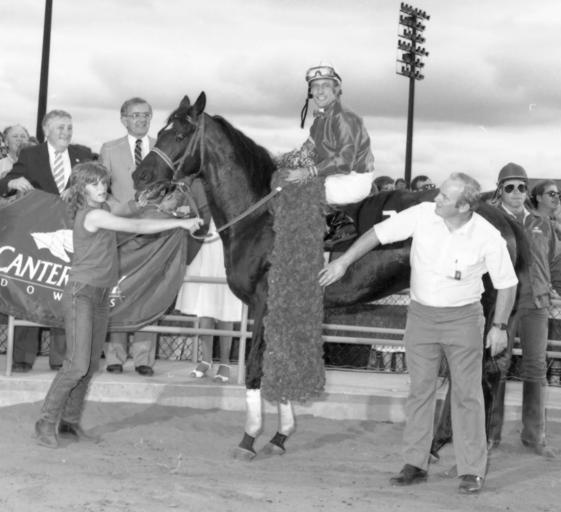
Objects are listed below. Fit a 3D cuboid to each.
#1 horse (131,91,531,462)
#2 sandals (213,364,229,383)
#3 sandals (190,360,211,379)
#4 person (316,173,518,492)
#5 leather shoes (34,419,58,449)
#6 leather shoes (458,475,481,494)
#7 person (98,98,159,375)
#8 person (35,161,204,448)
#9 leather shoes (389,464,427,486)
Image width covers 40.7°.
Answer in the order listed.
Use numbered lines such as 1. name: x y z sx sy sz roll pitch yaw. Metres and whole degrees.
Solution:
1. horse: 0.424 0.091 5.369 2.976 2.429 0.721 4 16 31
2. sandals: -0.566 1.108 7.182 0.119 0.135 0.150 0 -2 17
3. sandals: -0.774 1.097 7.375 0.085 0.109 0.244 1 -5 13
4. person: 0.946 0.543 4.715 0.964 1.767 0.326 1 -2 18
5. leather shoes: -1.595 1.196 5.183 0.153 0.182 0.246 3 -2 -19
6. leather shoes: 1.154 1.374 4.601 0.156 0.115 0.117 2 -2 -2
7. person: -1.218 -0.288 6.978 0.623 2.238 0.636 -8 -13 20
8. person: -1.270 0.321 5.358 0.805 1.961 0.539 3 -2 -19
9. leather shoes: 0.802 1.386 4.815 0.282 0.127 0.096 2 -5 -19
